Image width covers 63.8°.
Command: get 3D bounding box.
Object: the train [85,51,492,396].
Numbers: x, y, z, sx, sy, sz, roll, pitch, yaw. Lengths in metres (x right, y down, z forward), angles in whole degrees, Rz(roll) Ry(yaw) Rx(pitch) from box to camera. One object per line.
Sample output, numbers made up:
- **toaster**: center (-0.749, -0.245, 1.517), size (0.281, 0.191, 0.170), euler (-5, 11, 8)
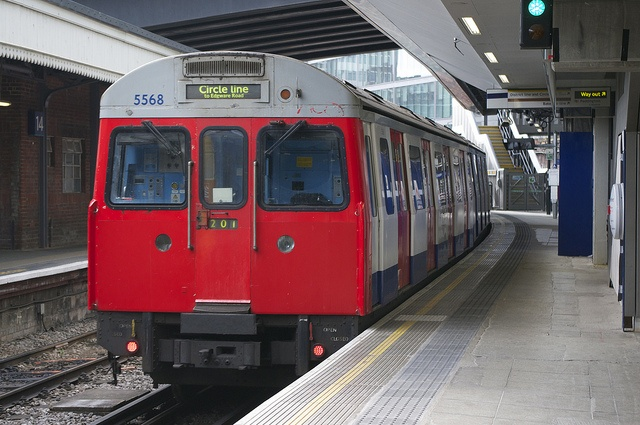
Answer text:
- **train**: center (1.290, -0.052, 13.329), size (3.892, 4.613, 15.050), euler (0, 2, 21)
